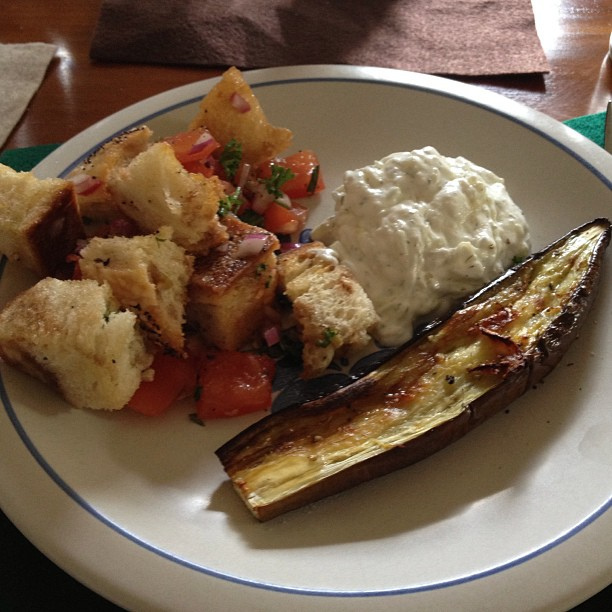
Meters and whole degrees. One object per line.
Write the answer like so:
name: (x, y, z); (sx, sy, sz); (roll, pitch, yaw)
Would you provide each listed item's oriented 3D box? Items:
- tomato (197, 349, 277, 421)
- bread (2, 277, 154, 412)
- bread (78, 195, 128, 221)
tomato: (-0.151, 0.180, 1.593); (0.208, 0.082, 0.199); (-7, 24, -17)
bread: (-0.478, 0.077, 1.491); (0.260, 0.167, 0.259); (3, 70, 4)
bread: (-0.475, -0.224, 1.720); (0.105, 0.023, 0.054); (-1, 40, -5)
